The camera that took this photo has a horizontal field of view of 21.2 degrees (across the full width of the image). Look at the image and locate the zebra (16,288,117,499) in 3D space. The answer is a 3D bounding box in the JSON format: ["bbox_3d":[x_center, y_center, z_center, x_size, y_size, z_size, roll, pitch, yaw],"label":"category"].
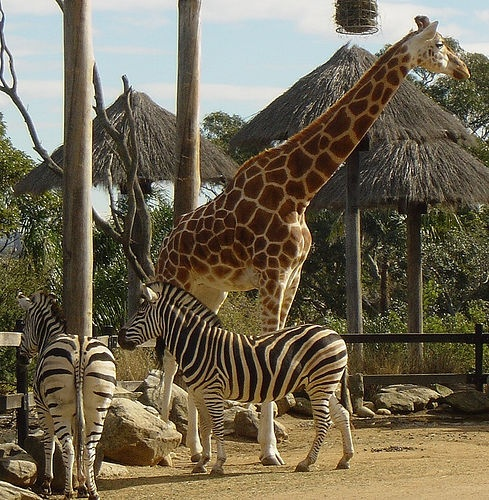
[{"bbox_3d":[-1.882,1.523,13.617,1.084,2.132,0.655,-2,-3,44],"label":"zebra"}]
